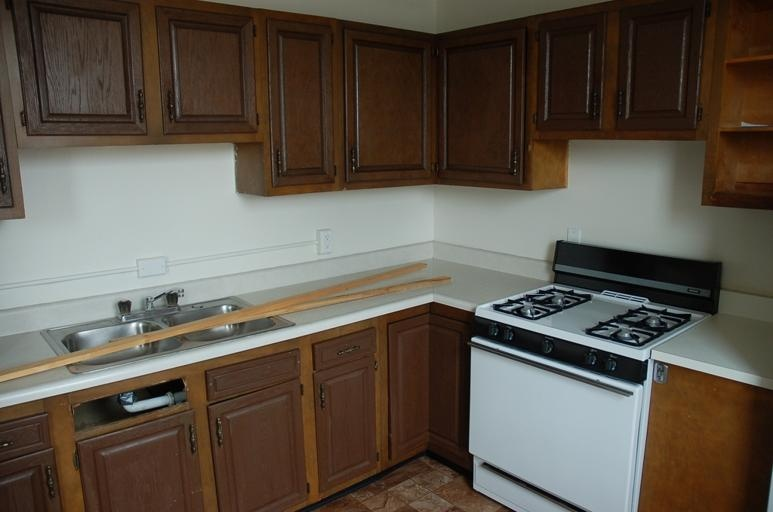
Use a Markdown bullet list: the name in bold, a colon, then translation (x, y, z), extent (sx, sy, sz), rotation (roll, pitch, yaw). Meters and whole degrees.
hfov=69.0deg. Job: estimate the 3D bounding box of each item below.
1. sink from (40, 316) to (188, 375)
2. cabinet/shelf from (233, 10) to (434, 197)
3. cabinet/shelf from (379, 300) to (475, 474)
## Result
- **sink**: translation (-1.462, 0.442, 2.973), extent (0.407, 0.160, 0.349), rotation (-14, 24, -40)
- **cabinet/shelf**: translation (-0.334, -0.940, 3.594), extent (1.345, 1.029, 0.478), rotation (-12, 19, -41)
- **cabinet/shelf**: translation (0.269, 0.806, 3.504), extent (0.534, 0.986, 0.264), rotation (-3, 14, 7)
